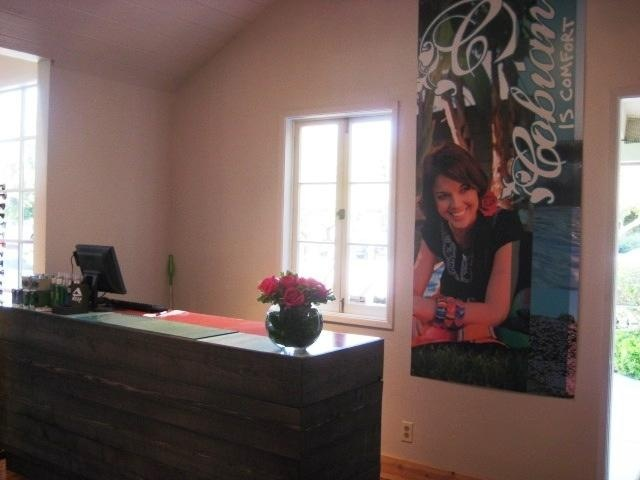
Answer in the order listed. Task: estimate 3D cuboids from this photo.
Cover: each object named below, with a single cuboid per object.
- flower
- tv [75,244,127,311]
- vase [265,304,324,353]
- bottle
[{"bbox_3d":[-0.128,0.353,2.947,0.390,0.400,0.403,-2,-5,-2],"label":"flower"},{"bbox_3d":[-1.664,0.252,3.965,0.379,0.450,0.229,4,7,19],"label":"tv"},{"bbox_3d":[-0.131,0.473,2.954,0.233,0.177,0.244,-1,-5,5],"label":"vase"},{"bbox_3d":[-1.944,0.360,3.835,0.613,0.244,0.234,1,2,34],"label":"bottle"}]
